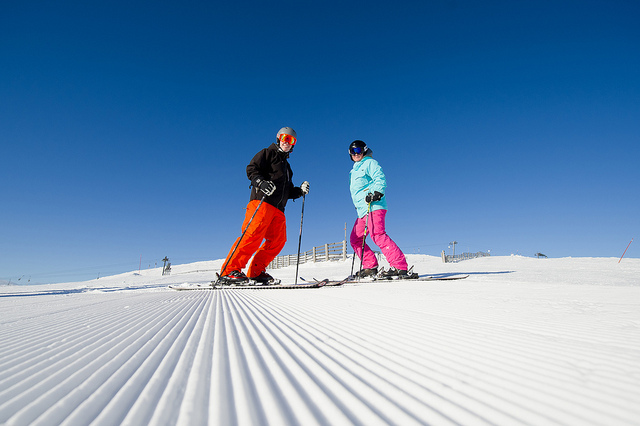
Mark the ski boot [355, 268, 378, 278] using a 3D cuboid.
[{"bbox_3d":[0.647,0.807,4.920,0.171,0.105,0.288,-2,-2,6],"label":"ski boot"}]

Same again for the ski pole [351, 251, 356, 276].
[{"bbox_3d":[0.528,0.782,5.698,0.084,0.499,0.077,3,-7,4],"label":"ski pole"}]

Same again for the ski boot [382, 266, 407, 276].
[{"bbox_3d":[0.934,0.729,4.549,0.297,0.135,0.107,0,-10,34],"label":"ski boot"}]

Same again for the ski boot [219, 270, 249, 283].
[{"bbox_3d":[-0.924,0.689,3.976,0.311,0.150,0.113,-2,-9,4],"label":"ski boot"}]

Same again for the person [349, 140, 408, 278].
[{"bbox_3d":[0.730,-0.159,4.950,0.579,2.017,1.314,-1,-6,-7],"label":"person"}]

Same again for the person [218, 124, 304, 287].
[{"bbox_3d":[-0.710,-0.178,4.429,0.602,2.060,1.280,-3,-6,17],"label":"person"}]
